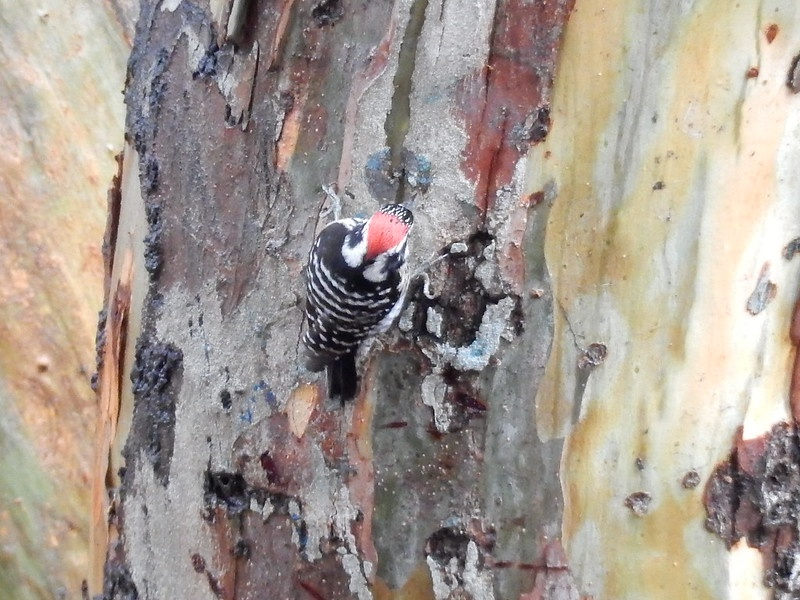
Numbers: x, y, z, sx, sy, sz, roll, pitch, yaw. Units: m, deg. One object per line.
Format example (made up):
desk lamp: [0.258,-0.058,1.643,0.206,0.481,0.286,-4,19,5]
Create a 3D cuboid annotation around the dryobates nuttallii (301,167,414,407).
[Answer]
dryobates nuttallii: [-0.198,0.031,8.011,0.605,0.729,0.601,-6,-35,15]
